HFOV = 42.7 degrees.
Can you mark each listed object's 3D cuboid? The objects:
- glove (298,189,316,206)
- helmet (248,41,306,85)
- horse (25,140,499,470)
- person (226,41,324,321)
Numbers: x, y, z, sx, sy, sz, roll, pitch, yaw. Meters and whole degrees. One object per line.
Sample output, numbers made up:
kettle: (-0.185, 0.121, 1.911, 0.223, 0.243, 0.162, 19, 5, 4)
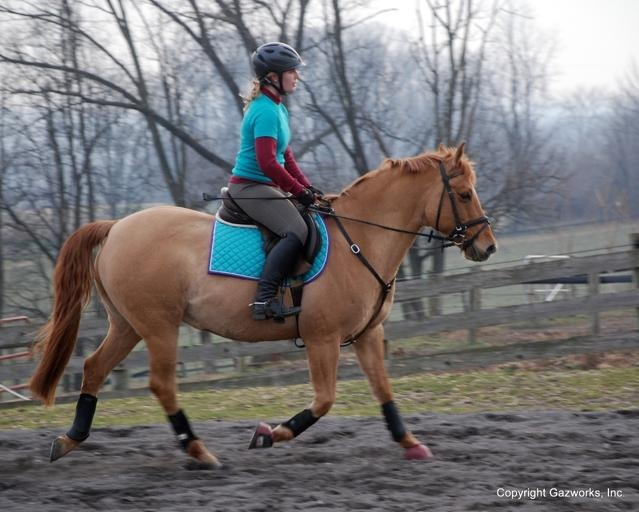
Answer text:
glove: (-0.118, -0.572, 7.973, 0.141, 0.155, 0.181, 4, 12, 21)
helmet: (-0.401, -1.968, 8.131, 0.582, 0.214, 0.286, -2, 32, 9)
horse: (-0.629, 0.439, 7.998, 4.422, 3.045, 1.072, -1, 14, -2)
person: (-0.473, -0.748, 7.940, 0.871, 2.691, 1.156, -2, 14, -5)
